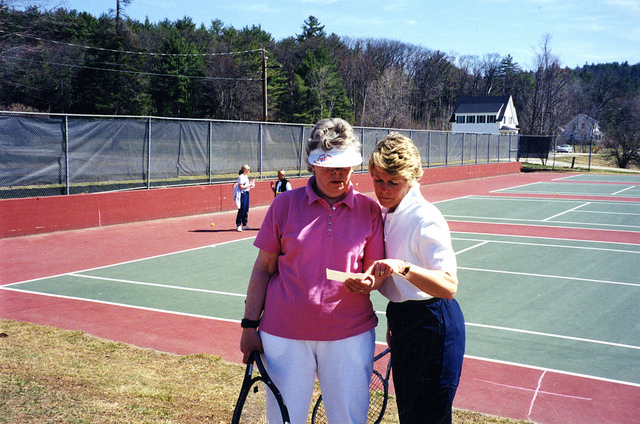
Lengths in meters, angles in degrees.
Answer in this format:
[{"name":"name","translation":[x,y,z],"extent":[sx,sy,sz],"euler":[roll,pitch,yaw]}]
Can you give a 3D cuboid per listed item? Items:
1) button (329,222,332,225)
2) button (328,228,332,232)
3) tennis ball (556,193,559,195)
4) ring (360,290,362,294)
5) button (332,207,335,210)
[{"name":"button","translation":[0.122,0.125,6.358],"extent":[0.025,0.028,0.009],"euler":[2,-6,4]},{"name":"button","translation":[0.118,0.207,6.346],"extent":[0.030,0.033,0.007],"euler":[-2,-11,-4]},{"name":"tennis ball","translation":[13.862,-1.074,32.225],"extent":[0.137,0.100,0.118],"euler":[-10,14,-38]},{"name":"ring","translation":[0.465,0.893,6.197],"extent":[0.024,0.052,0.042],"euler":[2,12,11]},{"name":"button","translation":[0.165,-0.046,6.399],"extent":[0.024,0.027,0.006],"euler":[-3,9,1]}]
